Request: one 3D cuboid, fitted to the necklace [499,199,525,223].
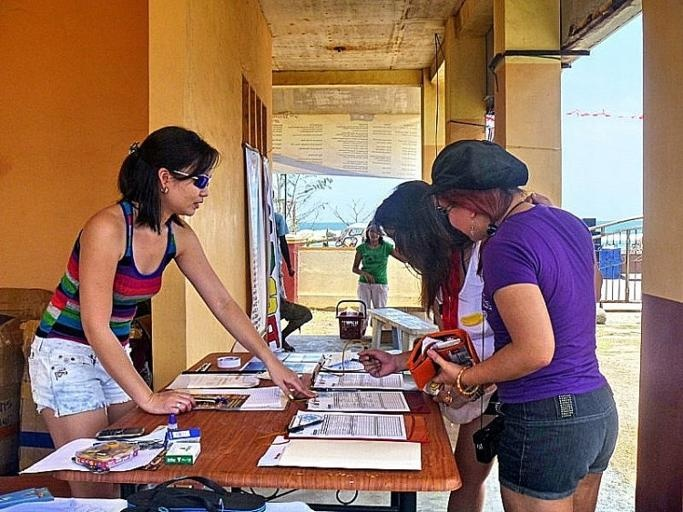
[{"bbox_3d":[0.571,-0.160,1.997,0.022,0.087,0.068,31,9,29],"label":"necklace"}]

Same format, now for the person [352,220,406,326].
[{"bbox_3d":[0.425,0.169,7.747,0.524,1.132,0.459,3,7,-4],"label":"person"}]

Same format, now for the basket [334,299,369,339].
[{"bbox_3d":[0.139,0.837,7.978,0.517,0.624,0.621,1,2,0],"label":"basket"}]

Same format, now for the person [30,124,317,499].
[{"bbox_3d":[-0.686,0.110,2.581,0.882,1.788,0.822,0,1,24],"label":"person"}]
